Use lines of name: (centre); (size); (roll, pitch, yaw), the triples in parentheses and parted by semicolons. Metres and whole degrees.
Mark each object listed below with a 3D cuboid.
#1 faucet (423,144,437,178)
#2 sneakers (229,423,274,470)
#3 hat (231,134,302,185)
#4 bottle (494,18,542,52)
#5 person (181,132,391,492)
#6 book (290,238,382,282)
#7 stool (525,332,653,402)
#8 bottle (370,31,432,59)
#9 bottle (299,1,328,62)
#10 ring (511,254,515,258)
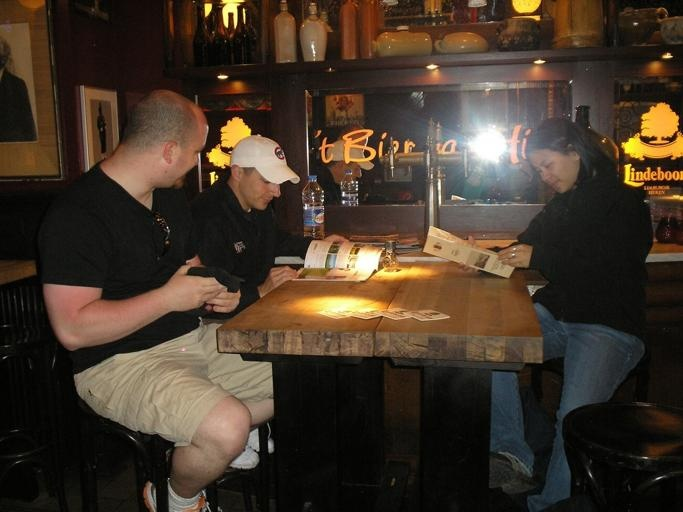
faucet: (0.542, -0.569, 3.597); (0.083, 0.213, 0.166); (2, 8, 8)
sneakers: (-0.383, 0.825, 2.572); (0.208, 0.080, 0.194); (2, -5, -13)
hat: (-0.378, -0.493, 3.033); (0.408, 0.199, 0.269); (14, 11, 27)
bottle: (1.057, -1.272, 3.533); (0.260, 0.228, 0.230); (-5, 25, 2)
person: (-0.355, 0.096, 3.031); (0.944, 1.604, 0.786); (-10, -9, 15)
book: (-0.004, 0.046, 2.726); (0.386, 0.074, 0.370); (-4, 35, 6)
stool: (1.209, 0.561, 2.876); (0.486, 0.480, 0.455); (0, 0, 6)
bottle: (0.366, -1.240, 3.526); (0.302, 0.107, 0.157); (1, 26, 4)
bottle: (-0.161, -1.345, 3.651); (0.154, 0.338, 0.131); (4, 9, 22)
ring: (0.754, -0.001, 2.622); (0.019, 0.016, 0.004); (2, -6, 12)
